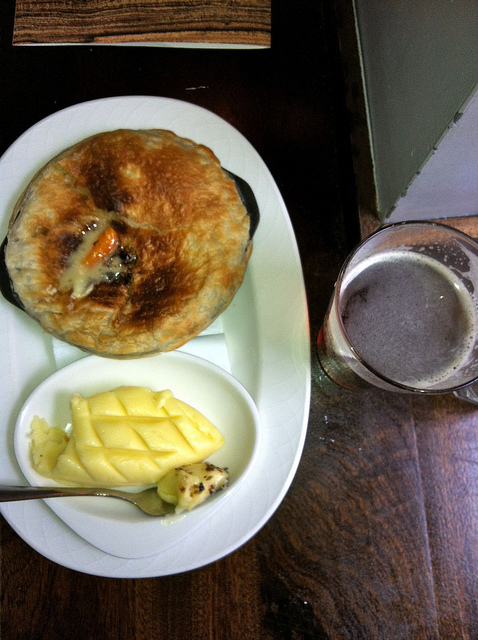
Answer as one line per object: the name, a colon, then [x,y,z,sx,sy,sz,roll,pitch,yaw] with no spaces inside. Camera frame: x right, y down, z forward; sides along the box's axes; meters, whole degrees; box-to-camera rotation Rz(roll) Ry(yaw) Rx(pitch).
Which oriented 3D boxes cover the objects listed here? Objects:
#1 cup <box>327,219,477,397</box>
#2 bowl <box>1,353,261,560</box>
cup: [0.215,-0.014,0.908,0.215,0.196,0.246,8,89,4]
bowl: [-0.149,0.172,0.863,0.322,0.093,0.292,29,75,5]
